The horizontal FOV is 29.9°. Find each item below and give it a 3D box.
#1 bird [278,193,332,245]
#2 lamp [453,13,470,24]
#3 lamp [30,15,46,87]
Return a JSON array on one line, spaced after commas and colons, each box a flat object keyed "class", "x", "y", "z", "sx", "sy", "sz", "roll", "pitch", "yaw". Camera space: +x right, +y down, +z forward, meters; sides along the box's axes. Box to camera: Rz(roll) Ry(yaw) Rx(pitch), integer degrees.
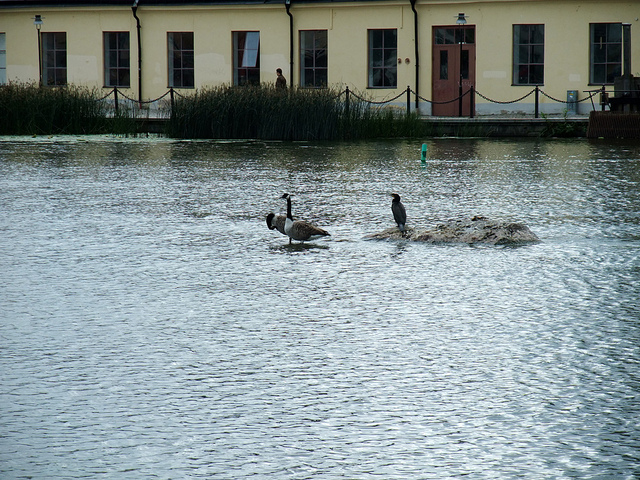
[{"class": "bird", "x": -0.165, "y": -0.190, "z": 12.144, "sx": 0.692, "sy": 0.508, "sz": 0.236, "roll": 4, "pitch": 2, "yaw": -33}, {"class": "lamp", "x": 3.913, "y": -6.092, "z": 33.015, "sx": 0.329, "sy": 0.205, "sz": 0.311, "roll": -2, "pitch": 9, "yaw": -4}, {"class": "lamp", "x": -8.860, "y": -6.038, "z": 38.016, "sx": 0.410, "sy": 2.114, "sz": 0.946, "roll": -4, "pitch": 15, "yaw": -12}]
